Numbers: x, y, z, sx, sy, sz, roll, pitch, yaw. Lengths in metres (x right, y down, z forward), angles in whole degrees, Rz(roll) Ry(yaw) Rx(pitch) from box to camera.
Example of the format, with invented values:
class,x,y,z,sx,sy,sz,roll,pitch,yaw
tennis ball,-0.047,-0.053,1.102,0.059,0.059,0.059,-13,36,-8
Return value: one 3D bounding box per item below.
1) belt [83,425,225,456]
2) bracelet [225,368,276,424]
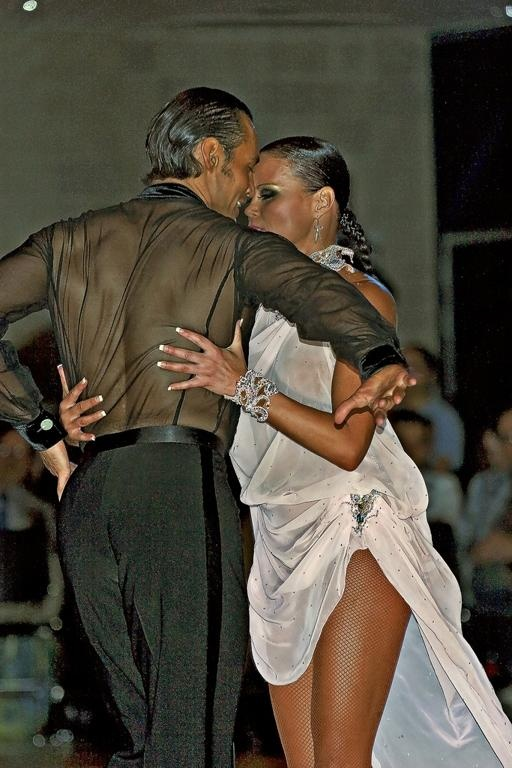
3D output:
class,x,y,z,sx,sy,sz,roll,pitch,yaw
belt,-0.168,0.096,1.424,0.112,0.019,0.090,-4,-21,6
bracelet,0.003,0.025,1.580,0.024,0.106,0.122,-23,24,-36
